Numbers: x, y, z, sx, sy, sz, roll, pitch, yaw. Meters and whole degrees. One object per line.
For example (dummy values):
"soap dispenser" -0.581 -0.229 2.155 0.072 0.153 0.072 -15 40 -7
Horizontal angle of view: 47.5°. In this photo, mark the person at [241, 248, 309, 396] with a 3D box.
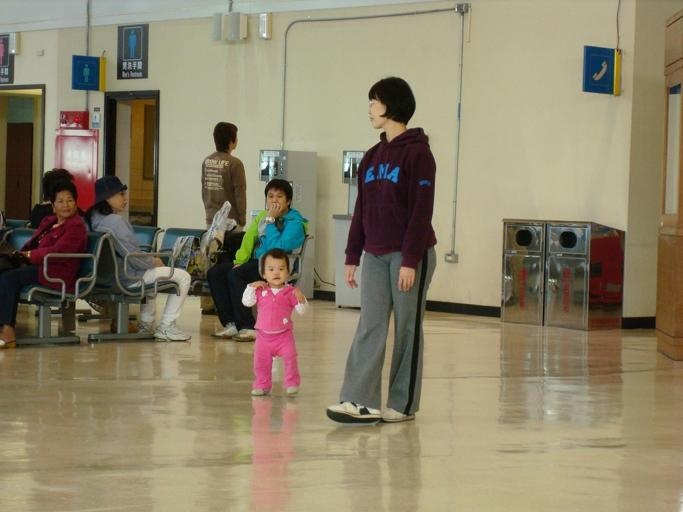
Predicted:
"person" -0.471 0.456 5.358 0.433 0.997 0.284 1 2 -3

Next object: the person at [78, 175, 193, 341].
"person" -1.970 0.021 7.321 0.798 1.626 0.854 9 12 44

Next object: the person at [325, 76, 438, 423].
"person" 0.280 -0.039 4.628 0.503 2.054 0.602 1 -1 13

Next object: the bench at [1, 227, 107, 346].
"bench" -2.589 0.251 7.109 0.918 1.315 0.939 2 -2 -30

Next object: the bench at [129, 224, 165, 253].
"bench" -2.056 -0.184 8.148 0.261 0.413 0.291 2 -16 -12

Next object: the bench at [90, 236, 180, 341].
"bench" -1.947 0.241 7.347 0.807 1.161 0.881 10 -7 -26

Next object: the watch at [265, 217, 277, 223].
"watch" -0.663 -0.325 7.177 0.062 0.039 0.072 1 -2 4

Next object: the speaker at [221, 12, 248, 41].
"speaker" -1.466 -3.129 10.577 0.328 0.360 0.187 7 8 41

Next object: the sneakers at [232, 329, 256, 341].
"sneakers" -0.901 0.733 7.235 0.233 0.107 0.146 2 -1 0

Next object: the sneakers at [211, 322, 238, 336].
"sneakers" -1.122 0.696 7.390 0.215 0.106 0.107 2 -1 6

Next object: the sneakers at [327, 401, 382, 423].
"sneakers" 0.074 0.933 4.686 0.308 0.164 0.124 9 -11 -10

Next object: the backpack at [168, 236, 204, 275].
"backpack" -1.569 -0.014 7.727 0.317 0.365 0.175 8 -6 23

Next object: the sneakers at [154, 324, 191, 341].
"sneakers" -1.572 0.715 7.210 0.351 0.206 0.137 5 -1 -2

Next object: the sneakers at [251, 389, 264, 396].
"sneakers" -0.571 0.930 5.327 0.107 0.048 0.068 1 3 -11

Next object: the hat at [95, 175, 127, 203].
"hat" -2.137 -0.603 7.062 0.242 0.131 0.223 -40 14 -31

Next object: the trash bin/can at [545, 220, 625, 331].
"trash bin/can" 2.515 0.204 8.833 1.020 1.538 0.788 1 0 3

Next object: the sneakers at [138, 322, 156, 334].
"sneakers" -1.842 0.680 7.270 0.096 0.123 0.168 11 -13 -3

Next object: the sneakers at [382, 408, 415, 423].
"sneakers" 0.342 0.971 4.752 0.164 0.067 0.086 4 -1 -16
